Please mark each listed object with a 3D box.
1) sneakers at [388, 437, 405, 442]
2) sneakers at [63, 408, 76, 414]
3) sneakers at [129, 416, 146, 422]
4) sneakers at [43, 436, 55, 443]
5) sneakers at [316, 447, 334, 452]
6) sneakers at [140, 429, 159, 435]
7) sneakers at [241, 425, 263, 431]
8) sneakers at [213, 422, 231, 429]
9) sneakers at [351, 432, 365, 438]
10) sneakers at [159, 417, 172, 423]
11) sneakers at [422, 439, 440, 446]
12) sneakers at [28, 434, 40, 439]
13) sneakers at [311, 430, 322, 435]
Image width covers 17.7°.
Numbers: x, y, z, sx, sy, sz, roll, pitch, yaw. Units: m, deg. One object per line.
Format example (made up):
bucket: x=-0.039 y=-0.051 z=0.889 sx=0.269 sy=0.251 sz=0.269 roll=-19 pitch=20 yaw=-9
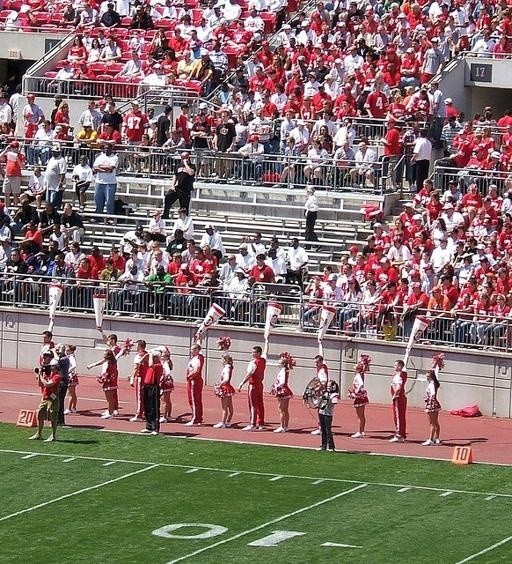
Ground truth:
sneakers: x=2.457 y=2.772 z=28.936 sx=0.270 sy=0.113 sz=0.098 roll=4 pitch=3 yaw=-5
sneakers: x=-3.476 y=2.431 z=30.732 sx=0.183 sy=0.082 sz=0.075 roll=1 pitch=-1 yaw=16
sneakers: x=-2.188 y=2.492 z=30.295 sx=0.276 sy=0.104 sz=0.349 roll=0 pitch=9 yaw=-3
sneakers: x=-3.569 y=2.707 z=28.438 sx=0.165 sy=0.089 sz=0.211 roll=0 pitch=9 yaw=-3
sneakers: x=1.171 y=2.846 z=28.102 sx=0.283 sy=0.125 sz=0.098 roll=-2 pitch=3 yaw=12
sneakers: x=-1.881 y=2.657 z=29.123 sx=0.297 sy=0.124 sz=0.106 roll=9 pitch=-2 yaw=3
sneakers: x=-0.077 y=2.643 z=29.769 sx=0.351 sy=0.156 sz=0.129 roll=4 pitch=0 yaw=-17
sneakers: x=-0.613 y=2.602 z=29.847 sx=0.263 sy=0.109 sz=0.114 roll=2 pitch=0 yaw=-3
sneakers: x=1.798 y=2.703 z=29.231 sx=0.239 sy=0.088 sz=0.311 roll=1 pitch=9 yaw=6
sneakers: x=-1.676 y=2.538 z=30.240 sx=0.169 sy=0.077 sz=0.079 roll=9 pitch=-4 yaw=-16
sneakers: x=3.034 y=2.787 z=28.664 sx=0.317 sy=0.133 sz=0.120 roll=0 pitch=3 yaw=-6
sneakers: x=-3.834 y=2.664 z=28.624 sx=0.199 sy=0.095 sz=0.274 roll=-1 pitch=10 yaw=-8
sneakers: x=1.067 y=2.687 z=29.426 sx=0.209 sy=0.085 sz=0.064 roll=1 pitch=11 yaw=-13
